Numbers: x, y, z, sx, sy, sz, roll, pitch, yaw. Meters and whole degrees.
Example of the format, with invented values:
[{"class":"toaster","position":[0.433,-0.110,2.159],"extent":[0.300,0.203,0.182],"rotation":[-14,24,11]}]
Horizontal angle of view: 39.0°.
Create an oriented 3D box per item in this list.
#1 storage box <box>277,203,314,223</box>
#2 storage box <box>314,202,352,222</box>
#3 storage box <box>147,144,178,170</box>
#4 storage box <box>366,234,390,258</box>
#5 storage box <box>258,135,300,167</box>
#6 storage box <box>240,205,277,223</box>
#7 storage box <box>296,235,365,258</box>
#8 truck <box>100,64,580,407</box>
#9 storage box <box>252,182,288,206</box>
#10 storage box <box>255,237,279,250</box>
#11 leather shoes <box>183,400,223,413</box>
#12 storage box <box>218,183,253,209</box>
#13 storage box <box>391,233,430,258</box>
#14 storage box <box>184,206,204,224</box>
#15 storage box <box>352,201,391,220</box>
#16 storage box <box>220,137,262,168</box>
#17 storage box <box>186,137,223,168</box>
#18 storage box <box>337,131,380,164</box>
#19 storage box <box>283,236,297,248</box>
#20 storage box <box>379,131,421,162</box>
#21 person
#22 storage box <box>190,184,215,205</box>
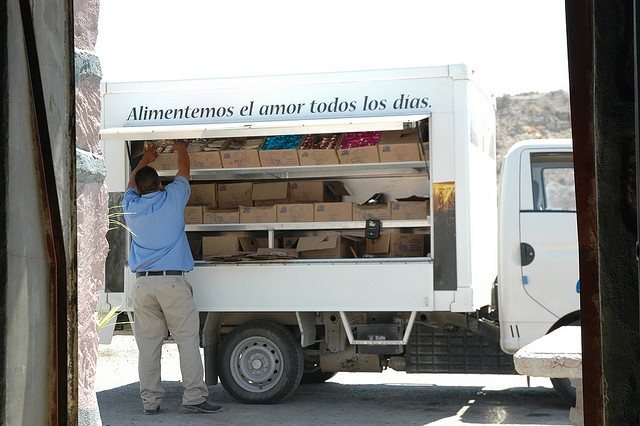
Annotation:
[{"class":"storage box","position":[-0.258,0.012,9.298],"extent":[0.354,0.183,0.171],"rotation":[2,6,19]},{"class":"storage box","position":[0.128,0.002,9.399],"extent":[0.362,0.188,0.176],"rotation":[2,-5,0]},{"class":"storage box","position":[-1.607,-0.576,9.485],"extent":[0.333,0.240,0.236],"rotation":[-2,-4,20]},{"class":"storage box","position":[0.593,0.350,9.315],"extent":[0.357,0.254,0.193],"rotation":[-5,-8,42]},{"class":"storage box","position":[-0.397,-0.611,9.240],"extent":[0.364,0.227,0.341],"rotation":[-1,-3,11]},{"class":"storage box","position":[-0.643,0.027,9.401],"extent":[0.270,0.123,0.189],"rotation":[0,2,12]},{"class":"storage box","position":[0.079,0.365,9.310],"extent":[0.447,0.149,0.311],"rotation":[1,2,8]},{"class":"truck","position":[0.273,0.299,9.475],"extent":[4.272,2.841,3.014],"rotation":[-1,-1,10]},{"class":"storage box","position":[-0.527,-0.196,9.705],"extent":[0.348,0.249,0.236],"rotation":[-1,-1,15]},{"class":"storage box","position":[-0.602,0.360,9.934],"extent":[0.200,0.136,0.108],"rotation":[1,-20,3]},{"class":"leather shoes","position":[-1.057,1.773,8.242],"extent":[0.357,0.165,0.132],"rotation":[1,0,-6]},{"class":"storage box","position":[-0.923,-0.174,10.041],"extent":[0.449,0.267,0.322],"rotation":[-2,1,4]},{"class":"storage box","position":[0.880,0.336,9.174],"extent":[0.390,0.213,0.251],"rotation":[-1,-15,-1]},{"class":"storage box","position":[-1.319,0.033,9.574],"extent":[0.180,0.170,0.177],"rotation":[-1,-4,3]},{"class":"storage box","position":[0.513,-0.061,9.177],"extent":[0.296,0.145,0.162],"rotation":[-1,-6,14]},{"class":"storage box","position":[-0.794,-0.589,9.219],"extent":[0.331,0.157,0.336],"rotation":[-1,19,6]},{"class":"storage box","position":[-1.167,-0.591,9.294],"extent":[0.320,0.121,0.351],"rotation":[-4,20,-6]},{"class":"storage box","position":[0.378,-0.629,9.036],"extent":[0.359,0.198,0.361],"rotation":[-2,29,14]},{"class":"storage box","position":[-0.332,0.325,9.897],"extent":[0.167,0.164,0.090],"rotation":[-1,-8,8]},{"class":"storage box","position":[0.792,-0.637,8.931],"extent":[0.344,0.186,0.346],"rotation":[-1,5,10]},{"class":"person","position":[-1.368,0.579,8.406],"extent":[0.885,2.521,0.537],"rotation":[-1,-3,6]},{"class":"storage box","position":[-1.273,-0.188,9.955],"extent":[0.241,0.242,0.183],"rotation":[0,-5,10]}]
